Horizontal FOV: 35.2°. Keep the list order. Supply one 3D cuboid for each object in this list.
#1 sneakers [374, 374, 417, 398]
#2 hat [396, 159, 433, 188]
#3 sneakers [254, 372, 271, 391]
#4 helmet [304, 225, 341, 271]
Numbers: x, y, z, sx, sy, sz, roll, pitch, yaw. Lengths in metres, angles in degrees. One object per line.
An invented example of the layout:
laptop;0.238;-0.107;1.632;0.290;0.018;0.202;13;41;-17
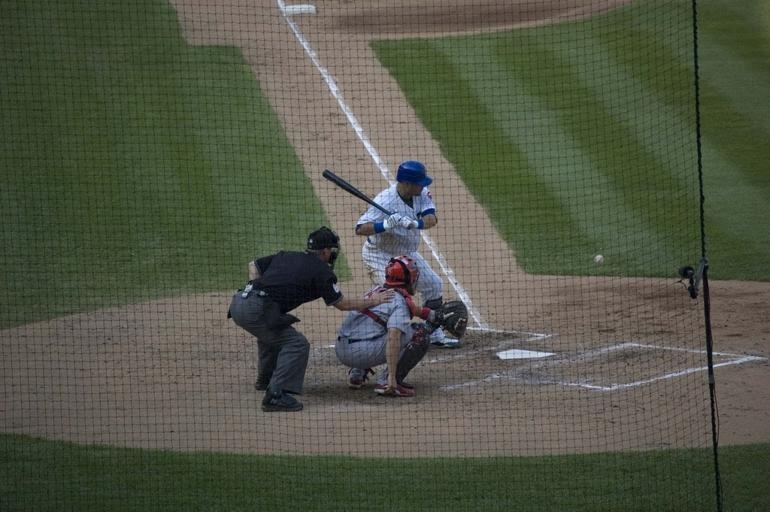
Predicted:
sneakers;0.106;2.100;19.179;0.555;0.183;0.269;1;4;-8
hat;0.469;-1.359;20.185;0.604;0.279;0.380;0;29;-15
sneakers;-2.038;2.016;19.324;0.283;0.225;0.230;7;6;15
helmet;-1.025;-0.153;19.151;0.619;0.529;0.453;12;4;-12
